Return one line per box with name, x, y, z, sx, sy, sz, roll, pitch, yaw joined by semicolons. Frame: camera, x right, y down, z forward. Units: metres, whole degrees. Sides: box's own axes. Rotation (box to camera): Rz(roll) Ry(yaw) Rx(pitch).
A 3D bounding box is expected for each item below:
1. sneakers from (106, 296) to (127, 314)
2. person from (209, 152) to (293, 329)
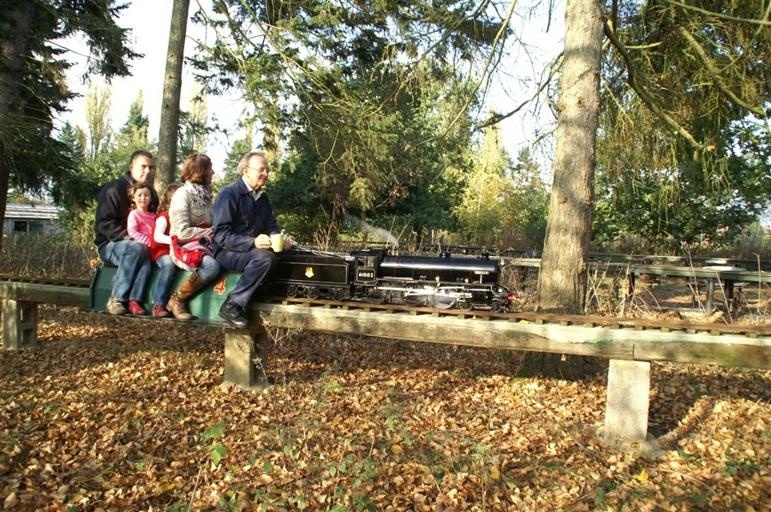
sneakers;-4.368;0.802;9.035;0.424;0.292;0.144;6;14;24
person;-2.196;-0.296;8.868;1.047;2.635;0.938;-5;13;-20
